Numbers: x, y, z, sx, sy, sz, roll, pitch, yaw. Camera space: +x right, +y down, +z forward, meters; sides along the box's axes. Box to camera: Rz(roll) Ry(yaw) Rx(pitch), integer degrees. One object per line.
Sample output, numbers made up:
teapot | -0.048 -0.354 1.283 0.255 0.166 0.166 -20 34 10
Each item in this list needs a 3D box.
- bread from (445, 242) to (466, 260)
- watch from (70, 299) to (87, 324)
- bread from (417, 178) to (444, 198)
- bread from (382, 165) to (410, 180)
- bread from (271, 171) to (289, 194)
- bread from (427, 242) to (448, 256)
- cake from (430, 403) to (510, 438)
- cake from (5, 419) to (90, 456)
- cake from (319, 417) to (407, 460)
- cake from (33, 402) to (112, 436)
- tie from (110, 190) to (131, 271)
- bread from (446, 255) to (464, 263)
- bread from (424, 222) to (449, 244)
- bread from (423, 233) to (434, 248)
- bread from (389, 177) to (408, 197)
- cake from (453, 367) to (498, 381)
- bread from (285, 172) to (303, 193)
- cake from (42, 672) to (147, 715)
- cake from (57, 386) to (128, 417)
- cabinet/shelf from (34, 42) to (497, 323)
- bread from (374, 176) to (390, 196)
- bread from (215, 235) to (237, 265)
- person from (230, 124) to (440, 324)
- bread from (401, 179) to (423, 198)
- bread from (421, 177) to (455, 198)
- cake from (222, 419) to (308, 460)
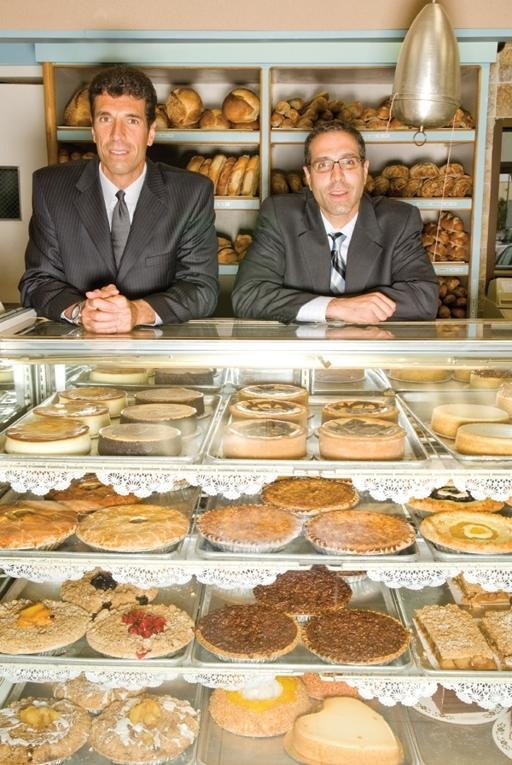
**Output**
bread | 1.346 -0.874 3.711 0.093 0.039 0.115 1 30 0
watch | -0.433 -0.172 1.365 0.024 0.057 0.048 9 43 -16
bread | 1.151 -1.266 3.638 0.119 0.051 0.145 7 34 11
bread | 0.954 -1.424 3.784 0.127 0.057 0.162 2 33 6
bread | 0.157 -1.330 3.705 0.097 0.067 0.205 -1 39 5
bread | 1.211 -0.892 3.729 0.086 0.060 0.109 -1 41 8
cake | 0.437 0.070 1.171 0.095 0.029 0.093 0 18 9
cake | -0.422 0.109 1.141 0.190 0.054 0.118 3 9 17
cake | 0.214 0.113 1.125 0.168 0.068 0.104 1 8 8
cake | -0.395 0.067 1.222 0.095 0.033 0.093 2 11 2
tie | -0.516 -0.592 2.162 0.065 0.276 0.029 5 14 -1
bread | 1.331 -0.824 3.720 0.075 0.021 0.056 -7 0 4
bread | 1.227 -1.022 3.775 0.192 0.184 0.056 10 -12 18
bread | 1.162 -0.953 3.753 0.088 0.082 0.019 1 -15 23
bread | 0.951 -1.295 3.718 0.133 0.128 0.041 9 -2 38
cake | 0.473 -0.020 1.195 0.056 0.015 0.055 0 6 3
bread | 0.265 -1.342 3.775 0.153 0.103 0.324 -1 33 3
cake | -0.413 0.788 1.421 0.152 0.039 0.123 14 -4 14
cake | -0.371 0.031 1.282 0.097 0.032 0.094 0 14 -1
cabinet/shelf | 0.062 -1.021 2.697 1.969 1.726 0.634 0 7 2
bread | 0.843 -1.313 3.729 0.102 0.123 0.053 4 -4 31
bread | -0.200 -0.914 3.829 0.188 0.084 0.242 -2 27 -4
person | 0.284 -0.629 2.120 0.798 0.740 1.043 3 9 17
bread | 1.030 -1.276 3.678 0.104 0.134 0.042 13 -7 23
bread | 1.188 -1.266 3.636 0.179 0.062 0.130 -8 36 -8
cake | 0.016 0.111 1.120 0.168 0.067 0.083 3 9 17
